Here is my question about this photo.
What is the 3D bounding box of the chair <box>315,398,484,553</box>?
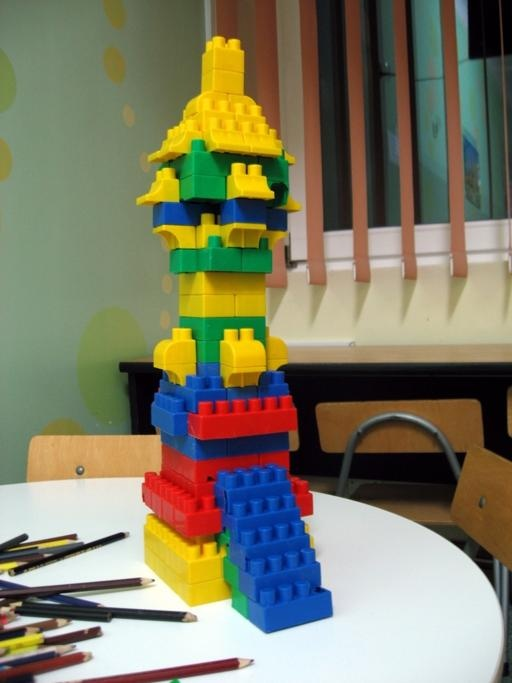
[{"bbox_3d":[0.315,0.239,1.475,0.269,0.465,0.336,-1,4,11],"label":"chair"}]
